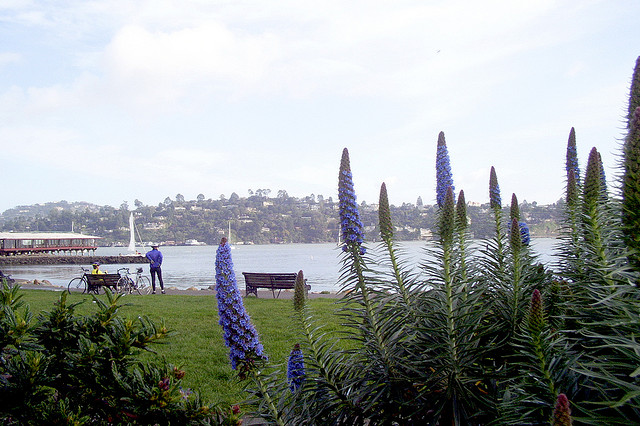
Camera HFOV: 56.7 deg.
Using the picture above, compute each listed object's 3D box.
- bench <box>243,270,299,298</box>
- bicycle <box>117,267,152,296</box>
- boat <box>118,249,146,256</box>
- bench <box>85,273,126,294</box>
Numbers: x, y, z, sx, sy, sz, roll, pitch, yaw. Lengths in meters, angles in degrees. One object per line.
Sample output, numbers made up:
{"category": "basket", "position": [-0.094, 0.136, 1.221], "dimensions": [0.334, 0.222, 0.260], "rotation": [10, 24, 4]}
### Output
{"category": "bench", "position": [-1.824, 2.429, 19.468], "dimensions": [0.732, 0.806, 1.949], "rotation": [16, -10, -7]}
{"category": "bicycle", "position": [-6.615, 2.393, 21.095], "dimensions": [1.411, 0.826, 0.411], "rotation": [-2, -8, 21]}
{"category": "boat", "position": [-31.444, 6.765, 100.063], "dimensions": [2.340, 0.983, 32.748], "rotation": [-2, -3, -19]}
{"category": "bench", "position": [-6.890, 2.245, 19.118], "dimensions": [1.030, 0.558, 1.836], "rotation": [-1, -4, -25]}
